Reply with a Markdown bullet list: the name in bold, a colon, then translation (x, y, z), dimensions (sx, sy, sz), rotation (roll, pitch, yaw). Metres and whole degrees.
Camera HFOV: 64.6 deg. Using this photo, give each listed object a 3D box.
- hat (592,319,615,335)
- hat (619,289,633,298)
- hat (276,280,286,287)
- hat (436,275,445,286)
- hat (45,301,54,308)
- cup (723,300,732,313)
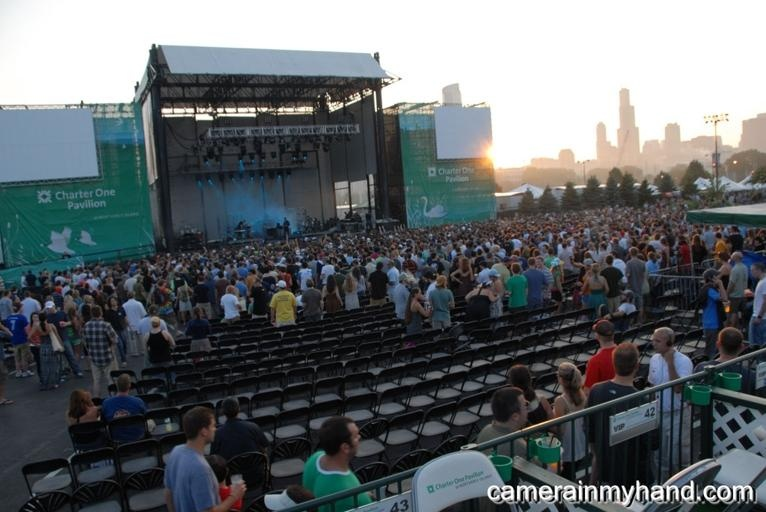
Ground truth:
- **hat**: translation (3.288, 1.068, 9.026), dimensions (0.264, 0.259, 0.328), rotation (-4, 6, 20)
- **hat**: translation (5.089, 0.773, 12.714), dimensions (0.231, 0.127, 0.172), rotation (26, 23, 34)
- **hat**: translation (-2.485, 0.676, 14.572), dimensions (0.157, 0.129, 0.230), rotation (-15, 18, -37)
- **hat**: translation (1.236, 0.525, 13.090), dimensions (0.151, 0.213, 0.210), rotation (5, 13, 14)
- **hat**: translation (-8.072, 1.169, 14.629), dimensions (0.256, 0.169, 0.367), rotation (3, -1, -36)
- **cup**: translation (7.091, 1.024, 12.480), dimensions (0.163, 0.295, 0.076), rotation (-5, 13, -3)
